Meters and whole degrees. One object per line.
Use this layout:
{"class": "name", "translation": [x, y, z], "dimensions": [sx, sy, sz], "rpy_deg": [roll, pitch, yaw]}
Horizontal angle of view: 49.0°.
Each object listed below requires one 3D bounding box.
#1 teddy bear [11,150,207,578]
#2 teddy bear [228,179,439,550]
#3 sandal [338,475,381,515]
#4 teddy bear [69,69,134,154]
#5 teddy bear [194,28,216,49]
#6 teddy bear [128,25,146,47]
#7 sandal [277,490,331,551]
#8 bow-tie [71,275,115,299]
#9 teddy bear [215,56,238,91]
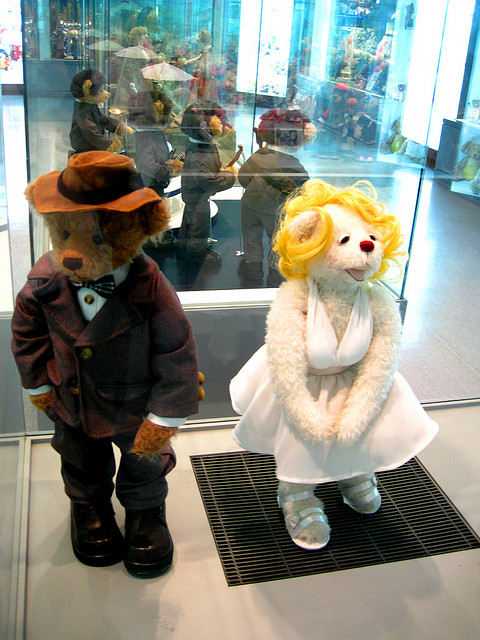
{"class": "teddy bear", "translation": [-0.323, 0.137, 1.290], "dimensions": [0.385, 1.060, 0.273], "rpy_deg": [27, 34, 32]}
{"class": "teddy bear", "translation": [0.228, 0.126, 1.489], "dimensions": [0.697, 0.954, 0.512], "rpy_deg": [-4, 17, -16]}
{"class": "sandal", "translation": [0.384, 0.526, 1.651], "dimensions": [0.086, 0.153, 0.063], "rpy_deg": [-33, 8, 28]}
{"class": "teddy bear", "translation": [-0.393, -0.571, 1.446], "dimensions": [0.124, 0.211, 0.186], "rpy_deg": [11, 26, 8]}
{"class": "teddy bear", "translation": [-0.099, -0.809, 1.515], "dimensions": [0.052, 0.048, 0.049], "rpy_deg": [-3, 38, 3]}
{"class": "teddy bear", "translation": [-0.286, -0.779, 1.442], "dimensions": [0.043, 0.050, 0.029], "rpy_deg": [-18, 50, -32]}
{"class": "sandal", "translation": [0.180, 0.555, 1.551], "dimensions": [0.128, 0.087, 0.235], "rpy_deg": [-8, 26, -16]}
{"class": "bow-tie", "translation": [-0.324, -0.078, 1.139], "dimensions": [0.112, 0.052, 0.025], "rpy_deg": [13, 28, 16]}
{"class": "teddy bear", "translation": [-0.035, -0.730, 1.544], "dimensions": [0.071, 0.071, 0.027], "rpy_deg": [-12, 32, -13]}
